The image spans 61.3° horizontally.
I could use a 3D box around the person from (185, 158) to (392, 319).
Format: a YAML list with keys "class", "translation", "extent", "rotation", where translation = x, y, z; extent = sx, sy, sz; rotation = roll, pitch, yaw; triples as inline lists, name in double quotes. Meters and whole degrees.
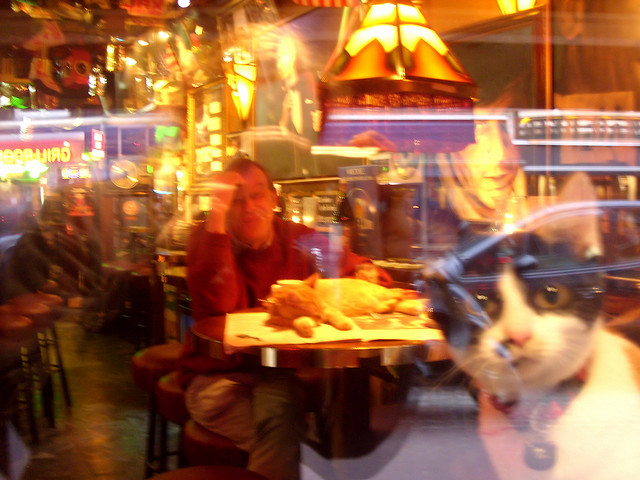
- class: "person"
  translation: [-0.219, 0.052, 2.364]
  extent: [0.957, 0.424, 0.684]
  rotation: [17, 29, 40]

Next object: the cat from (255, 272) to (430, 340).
- class: "cat"
  translation: [0.067, 0.224, 1.948]
  extent: [0.394, 0.131, 0.265]
  rotation: [-7, -3, -25]
